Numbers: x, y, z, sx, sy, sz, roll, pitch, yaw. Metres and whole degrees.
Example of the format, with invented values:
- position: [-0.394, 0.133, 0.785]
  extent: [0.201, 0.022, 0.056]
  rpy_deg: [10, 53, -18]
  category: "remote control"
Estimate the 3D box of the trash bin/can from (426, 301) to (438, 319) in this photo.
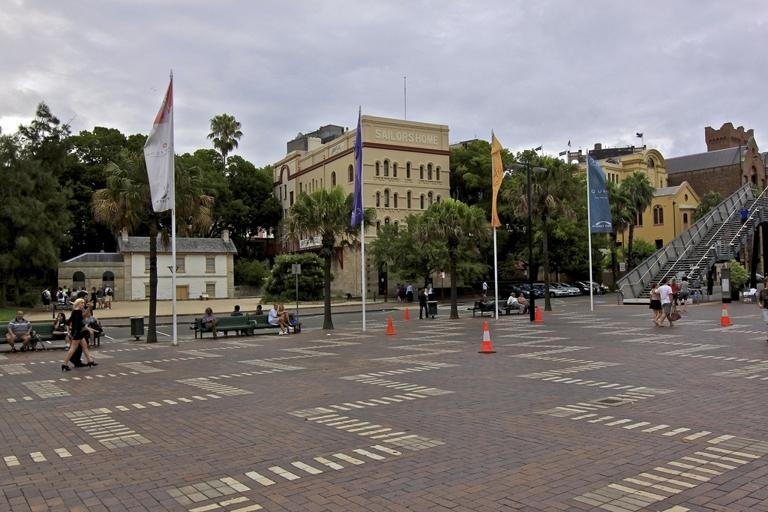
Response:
- position: [2.713, 3.004, 40.687]
  extent: [0.769, 0.915, 0.987]
  rpy_deg: [1, -3, -2]
  category: "trash bin/can"

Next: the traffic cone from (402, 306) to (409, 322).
- position: [1.297, 3.251, 40.018]
  extent: [0.559, 0.736, 0.546]
  rpy_deg: [-2, 5, -6]
  category: "traffic cone"

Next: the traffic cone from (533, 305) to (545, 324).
- position: [7.729, 2.990, 37.061]
  extent: [0.745, 0.826, 0.744]
  rpy_deg: [0, -4, -18]
  category: "traffic cone"

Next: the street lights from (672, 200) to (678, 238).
- position: [34.996, -4.538, 88.800]
  extent: [0.399, 3.874, 0.981]
  rpy_deg: [0, 5, 17]
  category: "street lights"

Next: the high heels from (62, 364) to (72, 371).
- position: [-9.650, 3.404, 22.345]
  extent: [0.296, 0.209, 0.164]
  rpy_deg: [-1, -1, 0]
  category: "high heels"

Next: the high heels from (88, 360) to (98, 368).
- position: [-9.046, 3.365, 22.846]
  extent: [0.289, 0.128, 0.150]
  rpy_deg: [-8, 9, -32]
  category: "high heels"

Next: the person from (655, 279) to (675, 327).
- position: [11.629, 2.062, 30.675]
  extent: [0.557, 1.687, 0.800]
  rpy_deg: [-2, 5, 3]
  category: "person"

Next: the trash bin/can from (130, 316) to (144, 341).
- position: [-10.548, 3.114, 31.477]
  extent: [0.454, 0.977, 0.447]
  rpy_deg: [-3, 5, -7]
  category: "trash bin/can"

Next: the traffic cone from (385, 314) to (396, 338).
- position: [0.114, 3.098, 31.646]
  extent: [0.645, 0.886, 0.614]
  rpy_deg: [-1, 9, 6]
  category: "traffic cone"
